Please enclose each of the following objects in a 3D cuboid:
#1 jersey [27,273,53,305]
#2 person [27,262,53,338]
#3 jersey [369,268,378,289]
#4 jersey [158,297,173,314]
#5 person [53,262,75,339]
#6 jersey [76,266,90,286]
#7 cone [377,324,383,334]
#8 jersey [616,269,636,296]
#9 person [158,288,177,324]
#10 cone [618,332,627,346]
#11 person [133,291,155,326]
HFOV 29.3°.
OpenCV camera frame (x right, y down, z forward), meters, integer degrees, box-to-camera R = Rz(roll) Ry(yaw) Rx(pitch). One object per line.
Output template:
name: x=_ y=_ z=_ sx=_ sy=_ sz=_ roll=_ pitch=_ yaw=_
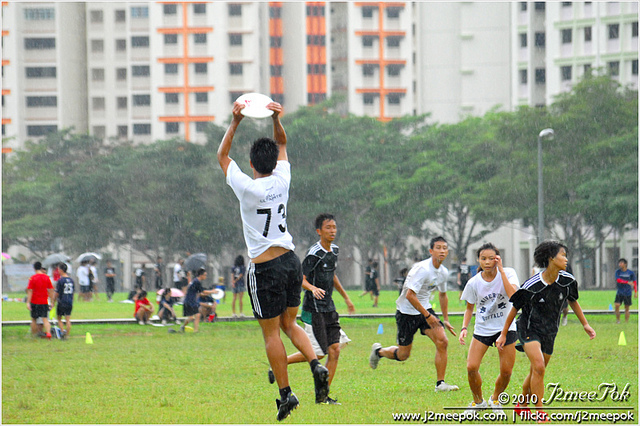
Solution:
jersey: x=-15.647 y=4.201 z=68.396 sx=1.757 sy=2.060 sz=0.767 roll=-1 pitch=7 yaw=-16
person: x=-15.687 y=4.767 z=68.562 sx=1.386 sy=4.209 sz=1.073 roll=-1 pitch=-2 yaw=-14
jersey: x=3.495 y=4.108 z=79.170 sx=0.348 sy=1.278 sz=0.946 roll=-1 pitch=-3 yaw=-22
jersey: x=-9.050 y=5.316 z=71.823 sx=0.736 sy=0.884 sz=0.851 roll=-2 pitch=-3 yaw=-8
person: x=-14.470 y=4.835 z=69.178 sx=0.984 sy=4.169 sz=0.760 roll=-2 pitch=-2 yaw=7
jersey: x=-15.169 y=3.939 z=78.491 sx=0.729 sy=1.247 sz=0.623 roll=-1 pitch=-3 yaw=-16
cone: x=3.467 y=6.462 z=69.939 sx=0.288 sy=0.546 sz=0.950 roll=-2 pitch=-3 yaw=3
jersey: x=17.655 y=3.910 z=70.524 sx=0.989 sy=1.521 sz=0.517 roll=-2 pitch=-2 yaw=8
person: x=-8.928 y=5.296 z=71.563 sx=0.957 sy=2.015 sz=0.896 roll=-1 pitch=-3 yaw=-27
cone: x=16.691 y=6.775 z=67.261 sx=0.462 sy=0.712 sz=0.715 roll=-3 pitch=-3 yaw=14
person: x=-10.306 y=5.455 z=71.630 sx=1.026 sy=1.968 sz=0.938 roll=-1 pitch=-3 yaw=-24
